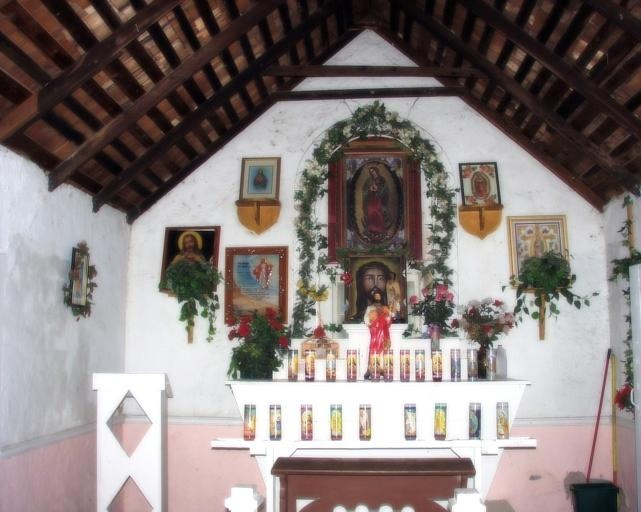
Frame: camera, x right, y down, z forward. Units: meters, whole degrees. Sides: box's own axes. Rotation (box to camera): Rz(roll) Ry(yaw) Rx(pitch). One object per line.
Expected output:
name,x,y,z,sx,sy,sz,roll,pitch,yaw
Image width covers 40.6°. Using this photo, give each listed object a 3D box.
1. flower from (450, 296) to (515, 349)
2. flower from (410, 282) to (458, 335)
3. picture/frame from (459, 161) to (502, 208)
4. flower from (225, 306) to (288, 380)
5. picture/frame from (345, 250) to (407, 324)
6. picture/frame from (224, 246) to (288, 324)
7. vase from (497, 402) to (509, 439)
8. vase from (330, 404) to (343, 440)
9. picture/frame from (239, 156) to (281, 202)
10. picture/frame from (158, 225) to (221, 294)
flower,1.706,0.689,9.063,0.550,0.565,0.548,6,-12,-23
flower,1.206,0.567,9.096,0.430,0.641,0.527,1,-8,8
picture/frame,1.814,-0.794,9.857,0.437,0.580,0.032,-1,-24,-2
flower,-0.655,0.927,8.916,0.589,0.869,0.788,0,-4,1
picture/frame,0.604,0.349,9.698,0.711,0.885,0.088,-2,23,-1
picture/frame,-0.732,0.322,9.877,0.723,0.998,0.064,0,24,-9
vase,1.702,1.527,8.079,0.118,0.337,0.050,1,-8,13
vase,0.146,1.543,8.033,0.098,0.287,0.273,-1,-5,1
picture/frame,-0.692,-0.856,9.980,0.455,0.624,0.026,0,-20,1
picture/frame,-1.493,0.044,9.850,0.662,0.895,0.040,2,-29,-11
